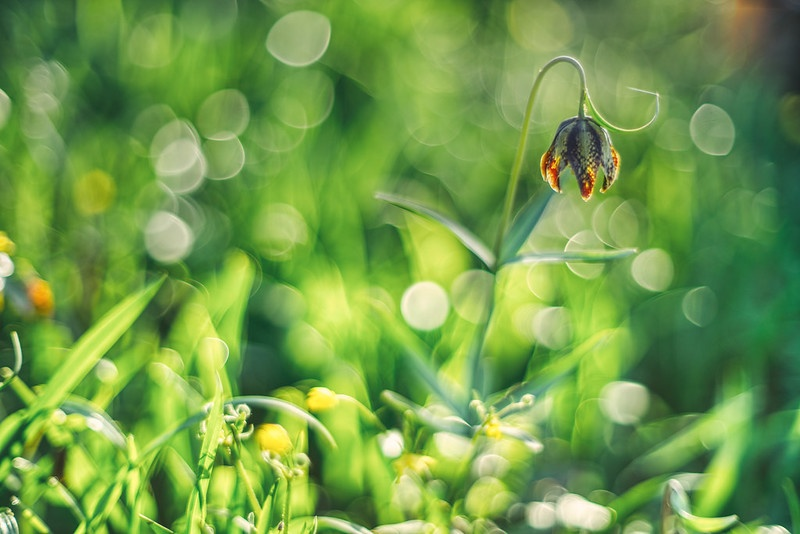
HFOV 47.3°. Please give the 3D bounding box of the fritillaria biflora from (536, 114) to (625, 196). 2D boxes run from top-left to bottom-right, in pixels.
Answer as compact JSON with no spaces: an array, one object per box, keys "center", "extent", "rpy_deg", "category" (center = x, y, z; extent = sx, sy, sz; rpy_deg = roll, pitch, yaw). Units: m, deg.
[{"center":[0.316,-0.199,1.677],"extent":[0.104,0.129,0.145],"rpy_deg":[-9,-92,21],"category":"fritillaria biflora"}]
